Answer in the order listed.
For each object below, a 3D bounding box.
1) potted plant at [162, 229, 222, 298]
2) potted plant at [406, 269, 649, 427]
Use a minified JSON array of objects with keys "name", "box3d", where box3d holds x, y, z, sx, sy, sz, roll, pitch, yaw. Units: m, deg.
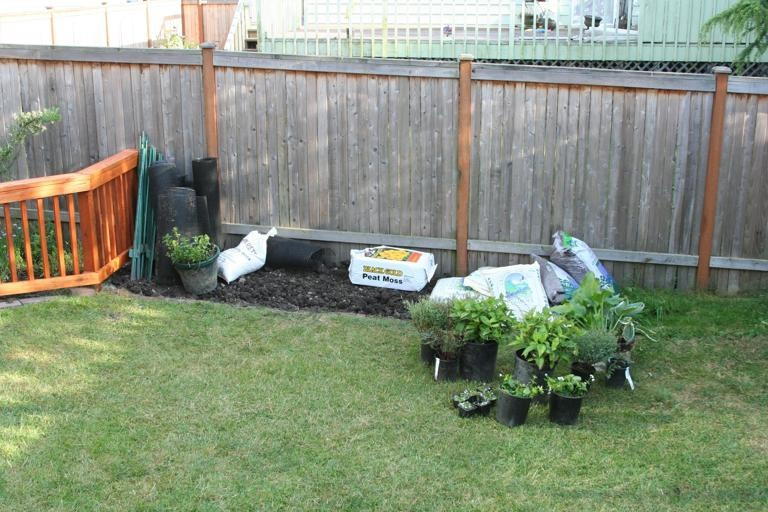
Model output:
[{"name":"potted plant","box3d":[-2.458,0.058,8.258,0.671,0.830,0.494,-3,10,-18]},{"name":"potted plant","box3d":[1.436,0.875,6.454,2.280,1.258,1.174,1,10,2]}]
